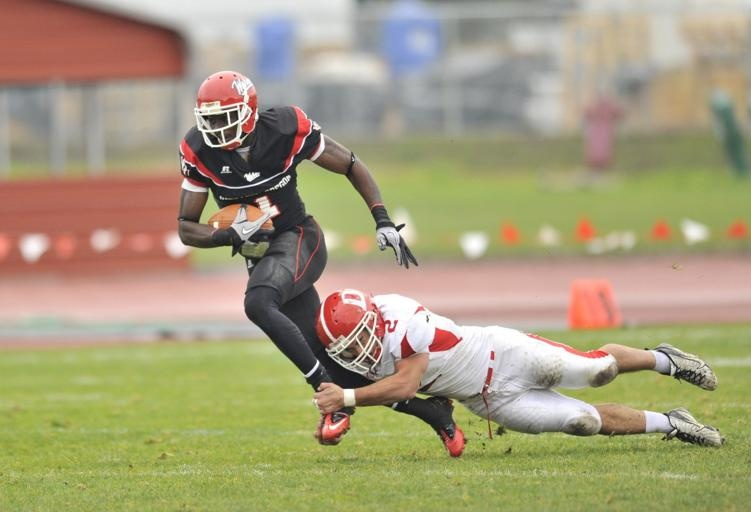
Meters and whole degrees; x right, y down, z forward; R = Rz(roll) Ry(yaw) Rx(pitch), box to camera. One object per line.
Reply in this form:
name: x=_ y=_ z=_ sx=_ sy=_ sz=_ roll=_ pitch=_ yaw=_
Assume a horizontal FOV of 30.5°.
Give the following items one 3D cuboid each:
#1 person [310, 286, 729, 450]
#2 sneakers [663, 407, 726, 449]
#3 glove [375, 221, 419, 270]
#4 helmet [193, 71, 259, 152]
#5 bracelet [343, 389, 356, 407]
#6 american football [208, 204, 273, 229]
person: x=1.085 y=1.012 z=11.304 sx=3.509 sy=1.035 sz=1.374 roll=11 pitch=-3 yaw=-9
sneakers: x=2.519 y=1.394 z=10.992 sx=0.452 sy=0.174 sz=0.247 roll=16 pitch=8 yaw=8
glove: x=0.212 y=-0.101 z=13.451 sx=0.510 sy=0.357 sz=0.153 roll=27 pitch=-15 yaw=2
helmet: x=-1.193 y=-1.196 z=11.212 sx=0.496 sy=0.550 sz=0.631 roll=-1 pitch=20 yaw=33
bracelet: x=-0.208 y=1.124 z=10.738 sx=0.103 sy=0.148 sz=0.098 roll=-2 pitch=8 yaw=0
american football: x=-1.113 y=-0.313 z=11.186 sx=0.438 sy=0.124 sz=0.207 roll=-2 pitch=6 yaw=-3
